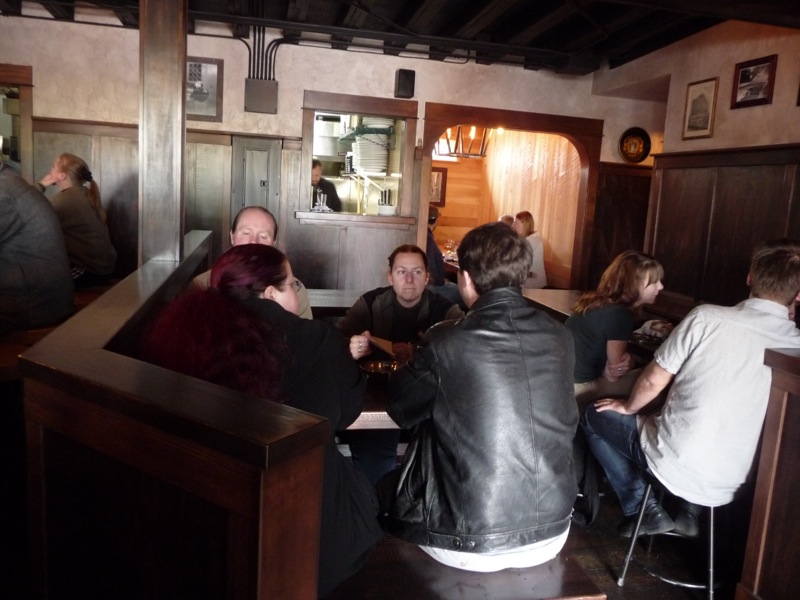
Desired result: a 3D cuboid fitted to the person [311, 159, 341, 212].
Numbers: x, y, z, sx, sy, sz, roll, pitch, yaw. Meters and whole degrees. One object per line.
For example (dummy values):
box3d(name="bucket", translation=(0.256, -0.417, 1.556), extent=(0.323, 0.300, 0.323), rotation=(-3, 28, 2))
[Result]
box3d(name="person", translation=(-0.879, -1.363, 7.085), extent=(0.319, 0.598, 0.984), rotation=(1, 14, -7))

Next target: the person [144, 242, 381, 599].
box3d(name="person", translation=(-0.415, 0.354, 1.973), extent=(0.715, 1.031, 0.504), rotation=(7, 14, 18))

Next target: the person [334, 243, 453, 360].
box3d(name="person", translation=(0.034, 0.064, 3.361), extent=(0.804, 0.698, 0.632), rotation=(1, 20, -7))

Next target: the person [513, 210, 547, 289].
box3d(name="person", translation=(1.529, -0.638, 7.149), extent=(0.498, 0.893, 0.383), rotation=(7, 28, 27))

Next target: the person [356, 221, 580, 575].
box3d(name="person", translation=(0.305, 0.308, 2.334), extent=(0.857, 1.141, 0.884), rotation=(5, 10, 38))

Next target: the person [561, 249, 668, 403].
box3d(name="person", translation=(1.258, 0.255, 3.347), extent=(0.566, 1.045, 0.459), rotation=(0, 22, 6))

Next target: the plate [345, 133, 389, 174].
box3d(name="plate", translation=(-0.417, -1.758, 7.229), extent=(0.451, 0.464, 0.466), rotation=(-4, 9, -33))

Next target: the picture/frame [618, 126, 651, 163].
box3d(name="picture/frame", translation=(2.855, -1.869, 7.172), extent=(0.442, 0.431, 0.059), rotation=(-2, 14, -20))

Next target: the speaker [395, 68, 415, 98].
box3d(name="speaker", translation=(0.064, -2.375, 6.550), extent=(0.232, 0.303, 0.174), rotation=(2, 13, -3))

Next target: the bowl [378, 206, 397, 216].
box3d(name="bowl", translation=(-0.134, -1.022, 6.751), extent=(0.198, 0.111, 0.222), rotation=(1, 14, -8))

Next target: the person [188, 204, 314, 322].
box3d(name="person", translation=(-0.812, -0.215, 3.258), extent=(0.707, 0.589, 0.375), rotation=(7, 6, -12))
